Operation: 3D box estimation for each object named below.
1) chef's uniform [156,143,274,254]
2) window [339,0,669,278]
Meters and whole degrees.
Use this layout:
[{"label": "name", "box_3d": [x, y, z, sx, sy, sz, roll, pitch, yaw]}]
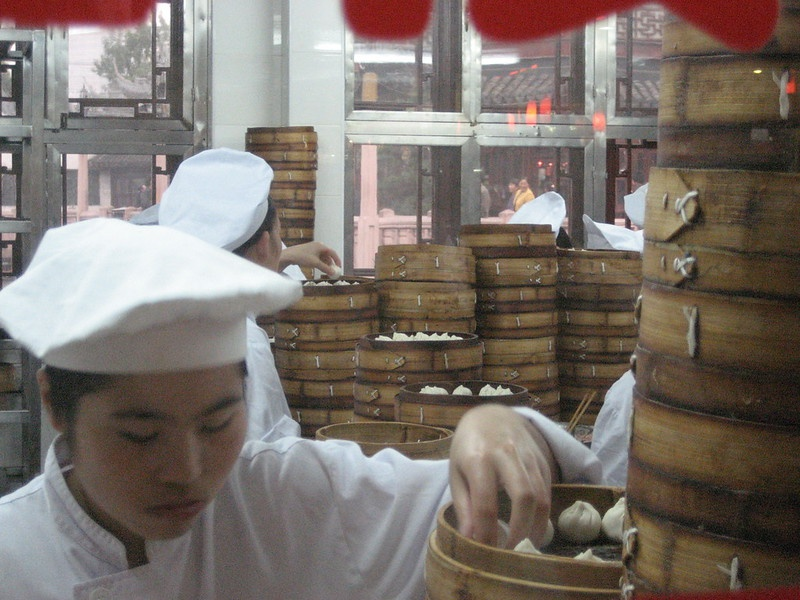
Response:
[{"label": "chef's uniform", "box_3d": [-0.657, -0.376, 5.729, 0.359, 0.451, 0.161, 12, -40, 10]}, {"label": "window", "box_3d": [0.406, -0.774, 8.086, 1.750, 1.961, 0.083, 1, 2, -17]}]
